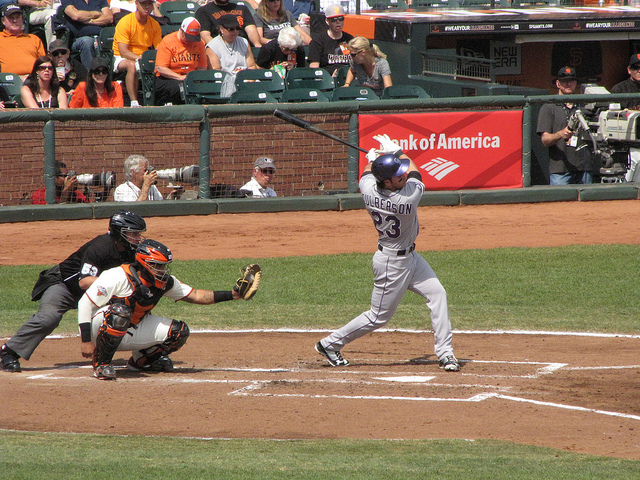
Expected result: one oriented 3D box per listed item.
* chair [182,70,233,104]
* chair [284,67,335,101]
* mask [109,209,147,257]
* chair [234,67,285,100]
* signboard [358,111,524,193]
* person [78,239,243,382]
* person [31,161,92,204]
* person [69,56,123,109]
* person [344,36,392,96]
[{"bbox_3d":[-1.694,-2.363,21.019,1.011,0.606,0.478,-14,24,-43],"label":"chair"},{"bbox_3d":[-0.180,-2.642,21.949,0.899,0.570,0.636,-1,8,-11],"label":"chair"},{"bbox_3d":[-2.205,-0.047,15.001,0.401,0.520,0.346,-3,6,-8],"label":"mask"},{"bbox_3d":[-1.064,-2.549,21.551,0.719,0.779,0.638,-4,8,-25],"label":"chair"},{"bbox_3d":[1.727,-1.370,19.349,1.878,0.858,0.080,-1,9,-7],"label":"signboard"},{"bbox_3d":[-1.993,0.798,15.090,1.542,1.600,0.566,-3,6,-9],"label":"person"},{"bbox_3d":[-3.922,-0.871,19.770,0.883,0.638,0.242,-3,6,-10],"label":"person"},{"bbox_3d":[-3.479,-2.437,20.345,0.812,0.756,0.429,-3,6,-17],"label":"person"},{"bbox_3d":[0.813,-2.829,21.647,0.904,0.978,0.674,4,25,21],"label":"person"}]
